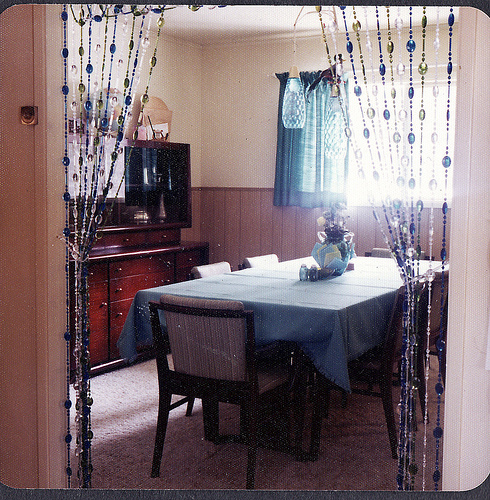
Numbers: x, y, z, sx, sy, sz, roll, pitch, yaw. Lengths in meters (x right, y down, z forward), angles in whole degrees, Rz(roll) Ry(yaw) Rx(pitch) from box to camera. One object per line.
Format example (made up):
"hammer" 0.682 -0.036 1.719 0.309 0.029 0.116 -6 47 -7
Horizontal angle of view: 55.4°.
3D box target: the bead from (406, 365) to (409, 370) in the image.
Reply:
"bead" 0.364 0.261 1.035 0.005 0.006 0.005 -3 2 -21

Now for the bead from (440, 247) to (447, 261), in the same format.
"bead" 0.417 0.008 0.971 0.011 0.031 0.025 1 5 24

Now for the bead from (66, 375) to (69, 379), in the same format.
"bead" -0.439 0.310 1.142 0.008 0.011 0.008 2 -4 -18

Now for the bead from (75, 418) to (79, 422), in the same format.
"bead" -0.431 0.430 1.183 0.008 0.007 0.003 -3 5 -13

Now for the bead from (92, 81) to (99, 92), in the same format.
"bead" -0.366 -0.397 1.132 0.015 0.027 0.006 4 -1 17

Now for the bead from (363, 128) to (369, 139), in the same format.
"bead" 0.268 -0.255 1.022 0.010 0.022 0.005 0 5 14

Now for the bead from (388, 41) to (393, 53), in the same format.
"bead" 0.300 -0.416 0.954 0.009 0.026 0.011 0 5 18

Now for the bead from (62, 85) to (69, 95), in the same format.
"bead" -0.429 -0.378 1.104 0.010 0.023 0.016 3 7 45

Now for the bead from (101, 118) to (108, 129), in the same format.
"bead" -0.345 -0.306 1.126 0.019 0.026 0.014 0 5 13

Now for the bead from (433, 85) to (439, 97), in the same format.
"bead" 0.399 -0.331 0.969 0.010 0.025 0.014 1 5 27

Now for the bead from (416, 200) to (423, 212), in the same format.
"bead" 0.364 -0.092 0.967 0.014 0.022 0.008 2 6 38

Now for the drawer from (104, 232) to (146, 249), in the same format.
"drawer" -0.614 -0.049 2.355 0.206 0.070 0.031 -5 6 -28

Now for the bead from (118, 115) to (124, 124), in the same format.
"bead" -0.303 -0.313 1.123 0.012 0.019 0.006 4 4 12

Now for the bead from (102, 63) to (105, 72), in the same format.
"bead" -0.351 -0.447 1.141 0.005 0.020 0.008 0 5 22

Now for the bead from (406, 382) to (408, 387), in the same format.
"bead" 0.360 0.297 1.029 0.004 0.009 0.004 3 9 36

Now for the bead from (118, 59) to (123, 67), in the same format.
"bead" -0.310 -0.459 1.145 0.011 0.019 0.005 1 -2 9

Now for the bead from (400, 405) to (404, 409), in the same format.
"bead" 0.353 0.350 1.041 0.003 0.008 0.008 -6 6 -41

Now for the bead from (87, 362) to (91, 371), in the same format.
"bead" -0.411 0.302 1.209 0.005 0.024 0.015 -1 -3 -5

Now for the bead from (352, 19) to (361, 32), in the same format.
"bead" 0.236 -0.472 0.984 0.017 0.026 0.028 -1 5 12

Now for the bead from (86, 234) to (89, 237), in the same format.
"bead" -0.388 -0.035 1.139 0.006 0.006 0.003 -3 5 -13

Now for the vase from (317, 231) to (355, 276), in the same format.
"vase" 0.323 -0.004 1.706 0.125 0.203 0.159 -2 7 1

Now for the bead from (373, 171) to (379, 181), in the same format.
"bead" 0.286 -0.161 1.012 0.011 0.019 0.004 -3 -10 29

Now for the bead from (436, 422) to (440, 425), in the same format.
"bead" 0.438 0.390 1.050 0.005 0.004 0.008 -7 7 -44

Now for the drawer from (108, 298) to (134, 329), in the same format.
"drawer" -0.610 0.355 2.271 0.085 0.176 0.166 -9 26 -28

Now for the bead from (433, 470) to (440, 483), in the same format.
"bead" 0.432 0.505 1.040 0.018 0.022 0.013 -3 5 -15

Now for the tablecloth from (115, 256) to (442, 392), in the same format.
"tablecloth" 0.120 0.206 1.704 0.862 0.312 0.833 0 5 21

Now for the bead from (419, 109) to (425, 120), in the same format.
"bead" 0.374 -0.284 0.979 0.011 0.021 0.006 1 5 23

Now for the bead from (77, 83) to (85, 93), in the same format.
"bead" -0.395 -0.388 1.115 0.014 0.023 0.006 -2 -10 11

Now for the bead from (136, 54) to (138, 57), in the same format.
"bead" -0.262 -0.466 1.117 0.003 0.006 0.010 -5 6 -35

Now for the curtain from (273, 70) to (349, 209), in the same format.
"curtain" 0.255 -0.409 1.740 0.282 0.635 0.074 2 -26 6

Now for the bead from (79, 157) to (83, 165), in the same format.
"bead" -0.406 -0.218 1.141 0.004 0.017 0.013 1 5 23

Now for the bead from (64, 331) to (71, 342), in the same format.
"bead" -0.433 0.208 1.121 0.013 0.020 0.005 -2 -1 5

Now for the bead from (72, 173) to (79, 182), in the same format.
"bead" -0.424 -0.180 1.150 0.016 0.022 0.006 -1 1 -30

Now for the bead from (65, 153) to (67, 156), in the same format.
"bead" -0.427 -0.225 1.101 0.004 0.006 0.005 -3 5 -22

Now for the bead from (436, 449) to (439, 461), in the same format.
"bead" 0.440 0.465 1.060 0.005 0.031 0.009 1 5 25

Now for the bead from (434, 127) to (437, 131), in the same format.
"bead" 0.404 -0.255 0.982 0.003 0.007 0.006 -3 5 -17
